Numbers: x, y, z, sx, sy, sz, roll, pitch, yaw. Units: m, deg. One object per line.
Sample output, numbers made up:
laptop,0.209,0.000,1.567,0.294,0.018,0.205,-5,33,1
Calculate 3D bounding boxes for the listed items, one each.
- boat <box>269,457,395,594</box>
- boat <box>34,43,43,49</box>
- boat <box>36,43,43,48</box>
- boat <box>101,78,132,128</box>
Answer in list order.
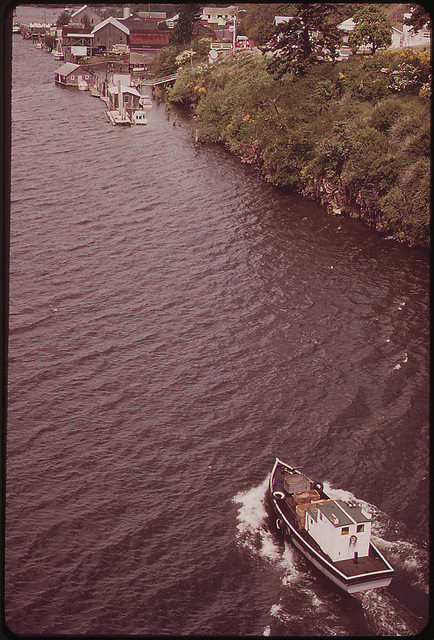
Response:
boat,3.561,6.891,29.129,2.077,1.801,5.026,-5,31,-20
boat,-23.915,-36.769,115.287,1.273,0.939,0.592,-1,2,37
boat,-23.813,-36.731,115.079,0.637,0.562,1.862,-2,21,-15
boat,-9.719,-20.881,83.298,2.496,4.146,8.488,0,41,-12
